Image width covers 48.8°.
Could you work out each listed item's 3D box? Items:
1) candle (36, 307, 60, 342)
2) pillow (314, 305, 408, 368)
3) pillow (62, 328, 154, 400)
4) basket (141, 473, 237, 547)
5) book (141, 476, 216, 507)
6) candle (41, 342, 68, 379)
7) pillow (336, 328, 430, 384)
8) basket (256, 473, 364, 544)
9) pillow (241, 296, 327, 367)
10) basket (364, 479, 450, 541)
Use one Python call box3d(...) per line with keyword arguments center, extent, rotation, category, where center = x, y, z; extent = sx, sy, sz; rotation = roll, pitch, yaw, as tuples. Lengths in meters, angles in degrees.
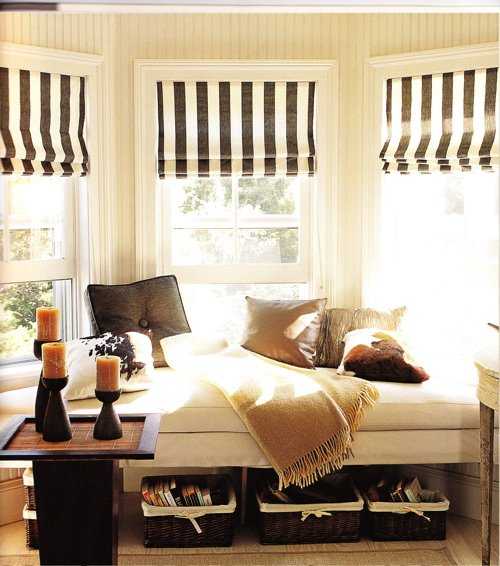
box3d(center=(-0.737, 0.152, 2.023), extent=(0.084, 0.124, 0.134), rotation=(-5, 8, -10), category="candle")
box3d(center=(0.620, 0.349, 3.180), extent=(0.546, 0.523, 0.152), rotation=(3, 34, -11), category="pillow")
box3d(center=(-0.655, 0.362, 2.542), extent=(0.340, 0.124, 0.308), rotation=(1, 43, -21), category="pillow")
box3d(center=(-0.286, 1.113, 2.517), extent=(0.423, 0.162, 0.334), rotation=(6, -26, -18), category="basket")
box3d(center=(-0.324, 0.930, 2.444), extent=(0.219, 0.068, 0.157), rotation=(5, -5, -9), category="book")
box3d(center=(-0.658, 0.265, 1.875), extent=(0.092, 0.116, 0.079), rotation=(2, 5, 7), category="candle")
box3d(center=(0.652, 0.363, 2.696), extent=(0.306, 0.089, 0.280), rotation=(1, 22, 11), category="pillow")
box3d(center=(0.281, 1.039, 2.579), extent=(0.499, 0.244, 0.360), rotation=(-3, 8, -3), category="basket")
box3d(center=(0.172, 0.274, 3.095), extent=(0.198, 0.378, 0.560), rotation=(22, -14, -41), category="pillow")
box3d(center=(0.695, 1.037, 2.471), extent=(0.251, 0.122, 0.331), rotation=(-1, -4, 3), category="basket")
